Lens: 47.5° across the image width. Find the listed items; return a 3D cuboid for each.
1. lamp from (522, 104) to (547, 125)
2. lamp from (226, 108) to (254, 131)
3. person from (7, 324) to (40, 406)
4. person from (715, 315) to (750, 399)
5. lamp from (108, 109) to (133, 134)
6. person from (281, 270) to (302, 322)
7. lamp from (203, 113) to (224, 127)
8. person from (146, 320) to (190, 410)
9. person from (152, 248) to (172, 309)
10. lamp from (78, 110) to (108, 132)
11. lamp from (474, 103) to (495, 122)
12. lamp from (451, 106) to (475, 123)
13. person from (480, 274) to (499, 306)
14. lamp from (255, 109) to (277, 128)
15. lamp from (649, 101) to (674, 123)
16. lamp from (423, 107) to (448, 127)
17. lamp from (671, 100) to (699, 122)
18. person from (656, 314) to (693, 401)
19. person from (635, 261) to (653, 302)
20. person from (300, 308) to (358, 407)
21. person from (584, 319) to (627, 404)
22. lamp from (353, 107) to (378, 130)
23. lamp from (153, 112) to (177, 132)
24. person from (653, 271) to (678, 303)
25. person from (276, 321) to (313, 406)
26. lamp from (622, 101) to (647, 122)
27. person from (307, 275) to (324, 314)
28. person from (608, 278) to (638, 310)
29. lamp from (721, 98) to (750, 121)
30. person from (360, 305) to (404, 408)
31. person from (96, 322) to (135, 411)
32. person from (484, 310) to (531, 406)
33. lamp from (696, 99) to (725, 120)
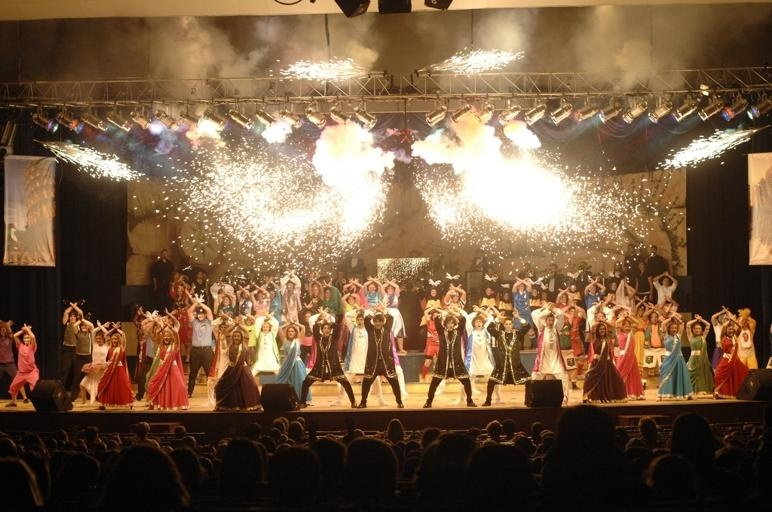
[{"bbox_3d":[3.151,-3.006,18.686,0.523,0.302,0.154,-34,4,28],"label":"lamp"},{"bbox_3d":[-3.069,-2.945,18.741,0.621,0.363,0.302,34,-23,-26],"label":"lamp"},{"bbox_3d":[-7.342,2.241,17.806,0.509,1.717,1.081,6,-13,-23],"label":"person"},{"bbox_3d":[6.775,2.043,17.365,0.614,1.539,0.330,-4,-13,19],"label":"person"},{"bbox_3d":[-5.708,-2.936,18.741,0.483,0.610,0.624,5,-14,-19],"label":"lamp"},{"bbox_3d":[-2.105,0.894,19.301,0.467,1.071,0.330,2,-12,-8],"label":"person"},{"bbox_3d":[-3.650,-2.901,18.603,0.372,0.260,0.379,33,-3,-3],"label":"lamp"},{"bbox_3d":[-4.156,2.139,16.767,0.807,1.612,0.367,2,-12,-6],"label":"person"},{"bbox_3d":[-5.045,0.681,20.041,0.524,1.699,0.480,-4,-7,-17],"label":"person"},{"bbox_3d":[-6.207,-2.817,18.538,0.615,0.358,0.261,29,-46,8],"label":"lamp"},{"bbox_3d":[2.096,-3.085,18.712,0.351,0.458,0.353,-3,-13,16],"label":"lamp"},{"bbox_3d":[1.604,-3.065,18.670,0.434,0.402,0.276,1,-13,-3],"label":"lamp"},{"bbox_3d":[2.325,0.763,19.827,0.343,0.821,0.613,-1,-13,9],"label":"person"},{"bbox_3d":[-2.614,-3.015,19.130,0.167,0.183,0.496,20,3,15],"label":"lamp"},{"bbox_3d":[5.808,-3.089,18.505,0.339,0.365,0.518,12,-17,-41],"label":"lamp"},{"bbox_3d":[1.056,-3.075,19.276,0.378,0.263,0.219,-34,3,19],"label":"lamp"},{"bbox_3d":[6.278,-3.082,18.482,0.320,0.334,0.543,10,-17,-37],"label":"lamp"},{"bbox_3d":[5.594,1.986,17.072,0.631,1.597,0.406,-2,-12,10],"label":"person"},{"bbox_3d":[5.849,0.573,19.917,0.370,0.920,0.173,-2,-12,10],"label":"person"},{"bbox_3d":[-1.125,2.089,17.407,1.396,2.619,0.909,0,-41,-3],"label":"person"},{"bbox_3d":[4.135,2.042,16.741,0.769,1.533,0.354,-4,-13,19],"label":"person"},{"bbox_3d":[-0.485,-2.951,18.787,0.549,0.368,0.302,30,7,-36],"label":"lamp"},{"bbox_3d":[-4.649,-2.885,18.609,0.477,0.306,0.301,7,-15,-28],"label":"lamp"},{"bbox_3d":[6.330,0.680,19.750,0.572,0.764,0.482,6,-14,-23],"label":"person"},{"bbox_3d":[-1.837,2.068,17.114,0.693,1.537,0.455,2,20,6],"label":"person"},{"bbox_3d":[5.282,-3.113,18.603,0.263,0.414,0.550,9,-16,-33],"label":"lamp"},{"bbox_3d":[-1.541,0.906,19.166,0.309,0.825,0.760,1,-13,-4],"label":"person"},{"bbox_3d":[5.308,0.853,19.624,0.548,0.763,0.695,-3,-13,16],"label":"person"},{"bbox_3d":[7.354,-3.092,18.531,0.551,0.335,0.215,-40,-25,25],"label":"lamp"},{"bbox_3d":[-0.091,1.966,16.726,0.789,1.899,0.530,1,-12,-4],"label":"person"},{"bbox_3d":[-5.194,2.159,16.907,0.663,1.592,0.333,3,-12,-13],"label":"person"},{"bbox_3d":[2.284,1.977,16.712,0.876,1.800,0.471,-1,-12,8],"label":"person"},{"bbox_3d":[6.851,-3.110,18.485,0.491,0.353,0.443,-5,-14,22],"label":"lamp"}]
